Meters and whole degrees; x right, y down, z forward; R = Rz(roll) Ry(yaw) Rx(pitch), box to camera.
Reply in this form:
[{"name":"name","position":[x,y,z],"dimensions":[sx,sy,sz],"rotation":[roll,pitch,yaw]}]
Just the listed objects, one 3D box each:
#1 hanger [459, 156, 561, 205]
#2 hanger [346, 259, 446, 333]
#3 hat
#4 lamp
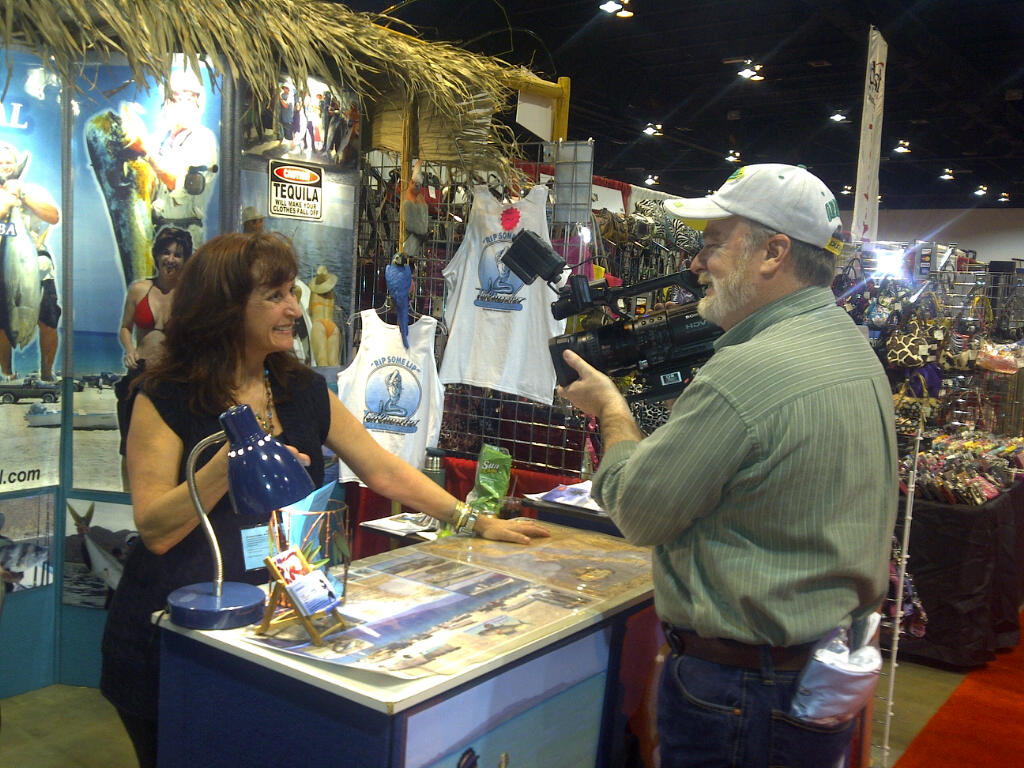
[{"name":"hanger","position":[0.057,-0.978,3.910],"dimensions":[0.297,0.103,0.424],"rotation":[7,9,41]},{"name":"hanger","position":[-0.589,-0.448,3.974],"dimensions":[0.390,0.441,0.017],"rotation":[2,17,4]},{"name":"hat","position":[0.613,-0.424,1.947],"dimensions":[0.325,0.165,0.212],"rotation":[11,9,11]},{"name":"lamp","position":[-0.660,0.308,1.829],"dimensions":[0.205,0.556,0.415],"rotation":[-4,13,-42]}]
